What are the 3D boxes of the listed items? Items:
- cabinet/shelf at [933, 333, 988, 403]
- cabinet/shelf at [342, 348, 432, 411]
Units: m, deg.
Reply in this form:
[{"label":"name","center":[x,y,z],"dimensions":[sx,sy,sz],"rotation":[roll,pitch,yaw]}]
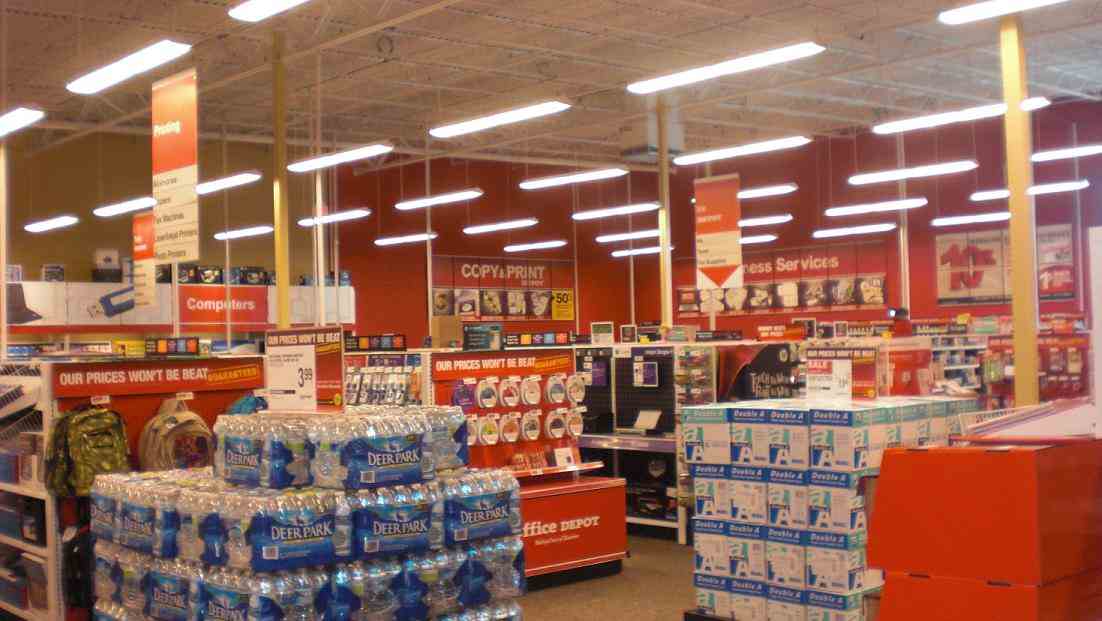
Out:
[{"label":"cabinet/shelf","center":[6.932,0.915,15.911],"dimensions":[0.859,1.031,2.751],"rotation":[-4,-2,25]},{"label":"cabinet/shelf","center":[-2.153,0.878,12.121],"dimensions":[1.563,0.614,0.211],"rotation":[-4,-2,43]}]
